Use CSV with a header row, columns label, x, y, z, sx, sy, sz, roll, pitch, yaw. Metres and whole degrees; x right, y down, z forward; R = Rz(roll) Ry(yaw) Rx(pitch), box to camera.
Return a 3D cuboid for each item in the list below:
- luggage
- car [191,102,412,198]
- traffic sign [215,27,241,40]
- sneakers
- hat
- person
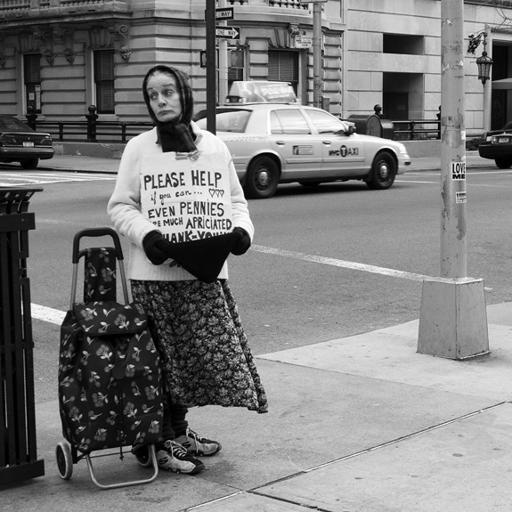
label,x,y,z,sx,sy,sz,roll,pitch,yaw
luggage,-0.653,0.445,3.723,0.452,1.117,0.471,-2,6,-17
car,0.960,-2.328,17.805,4.667,1.799,1.840,-9,12,-41
traffic sign,-0.689,-5.059,19.399,0.508,0.331,0.674,-1,8,-5
sneakers,-0.373,0.887,3.887,0.387,0.243,0.171,-1,5,-17
hat,-0.242,0.008,3.749,0.293,0.205,0.131,-1,6,-5
person,-0.306,0.046,3.827,0.589,1.771,0.533,-1,2,-9
